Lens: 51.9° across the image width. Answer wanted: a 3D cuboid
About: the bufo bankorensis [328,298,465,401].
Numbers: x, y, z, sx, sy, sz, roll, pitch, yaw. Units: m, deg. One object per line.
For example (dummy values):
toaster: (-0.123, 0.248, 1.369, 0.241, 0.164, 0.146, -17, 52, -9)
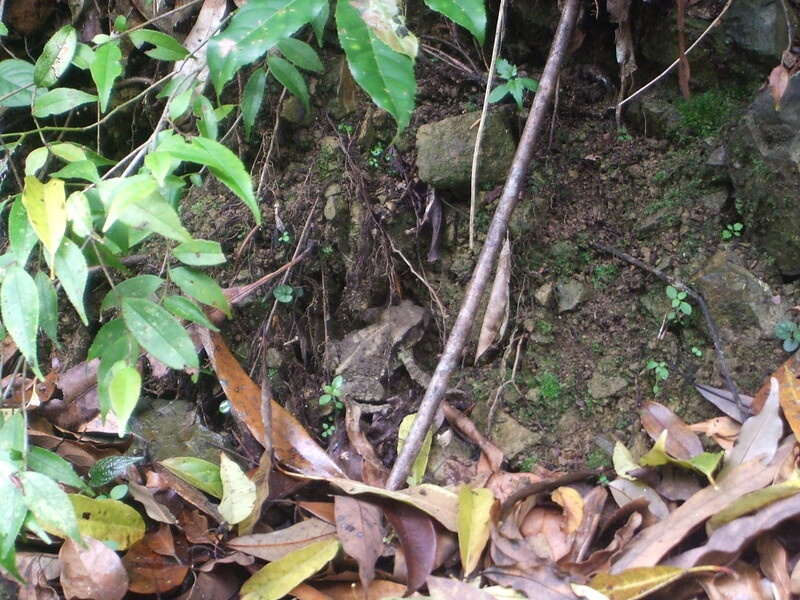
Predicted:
bufo bankorensis: (-0.103, 0.219, 4.038, 0.581, 0.266, 0.712, -11, 37, -20)
